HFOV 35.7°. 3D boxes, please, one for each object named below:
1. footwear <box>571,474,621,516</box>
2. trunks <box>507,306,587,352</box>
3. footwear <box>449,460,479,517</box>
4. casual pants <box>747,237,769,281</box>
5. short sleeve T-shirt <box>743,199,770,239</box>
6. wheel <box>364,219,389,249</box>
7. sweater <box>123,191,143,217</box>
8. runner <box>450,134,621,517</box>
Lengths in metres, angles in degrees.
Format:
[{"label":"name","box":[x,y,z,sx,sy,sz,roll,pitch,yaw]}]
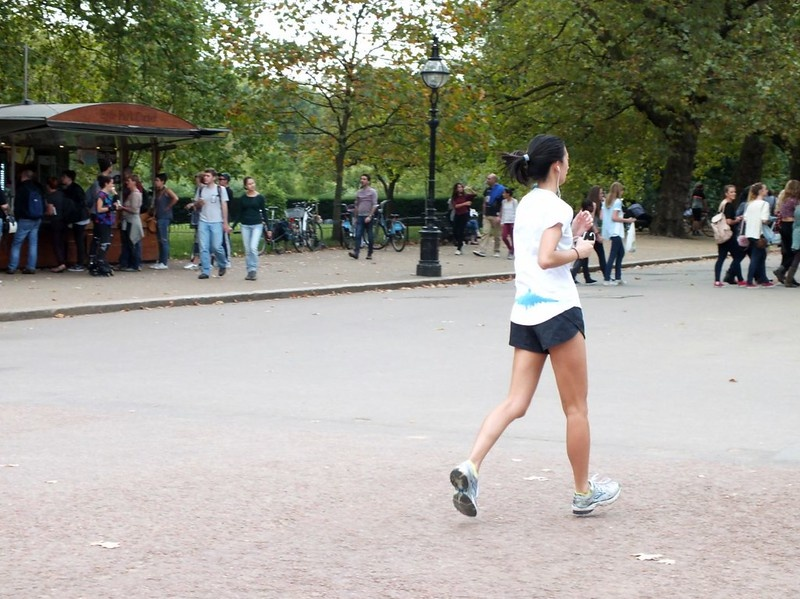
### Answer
[{"label":"footwear","box":[1.341,1.369,8.728,0.482,0.180,0.165,-17,25,-27]},{"label":"trunks","box":[1.067,0.251,8.638,0.576,0.293,0.371,-9,-13,31]},{"label":"footwear","box":[0.500,1.296,8.480,0.225,0.349,0.176,-8,15,22]},{"label":"casual pants","box":[6.113,-0.657,21.094,0.371,0.868,0.992,3,10,16]},{"label":"short sleeve T-shirt","box":[5.914,-1.345,20.674,0.421,0.651,0.429,5,12,25]},{"label":"wheel","box":[-0.591,-1.713,32.829,0.357,0.722,0.982,-1,-4,32]},{"label":"sweater","box":[-4.985,-1.794,23.248,0.450,0.507,0.666,7,5,-7]},{"label":"runner","box":[1.002,0.184,8.647,1.152,2.643,1.099,2,12,9]}]
